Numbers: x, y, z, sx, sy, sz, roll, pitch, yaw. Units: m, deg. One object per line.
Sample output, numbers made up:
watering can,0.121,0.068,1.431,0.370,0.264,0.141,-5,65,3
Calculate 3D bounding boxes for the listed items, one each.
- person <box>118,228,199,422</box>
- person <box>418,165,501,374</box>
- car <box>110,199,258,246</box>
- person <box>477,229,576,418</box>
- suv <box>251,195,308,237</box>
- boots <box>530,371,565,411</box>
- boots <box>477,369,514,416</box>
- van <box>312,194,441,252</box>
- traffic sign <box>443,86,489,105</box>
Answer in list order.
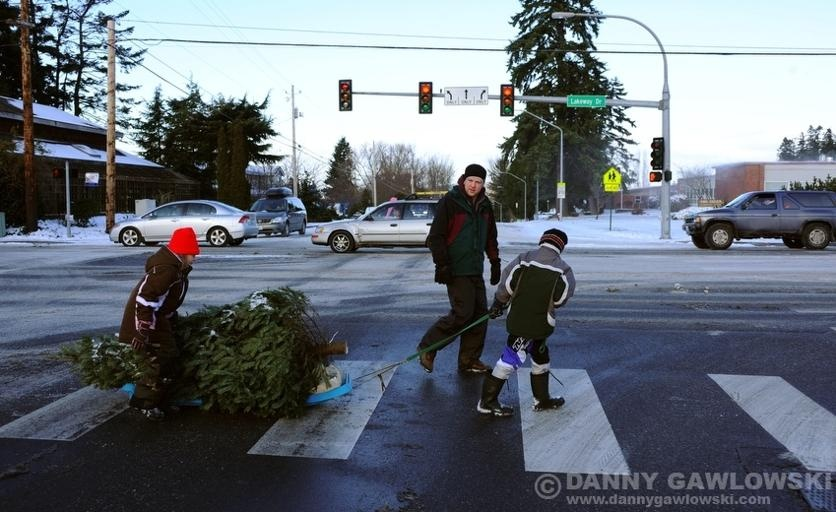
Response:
person,-2.871,0.710,7.087,0.740,2.107,0.955,5,3,4
person,0.585,0.171,8.332,1.115,2.649,0.768,0,0,-25
car,-8.819,-1.252,25.587,6.991,2.347,2.996,2,1,-2
person,1.190,0.723,7.148,1.022,1.961,0.621,0,13,1
suv,-7.675,-2.036,35.062,2.692,2.276,4.598,-1,13,-4
boots,1.464,1.520,7.284,0.415,0.409,0.224,-2,-5,-19
boots,0.765,1.526,7.215,0.501,0.546,0.309,0,6,-10
van,-1.172,-1.071,22.659,4.578,1.730,1.761,0,1,6
traffic sign,2.036,-7.159,28.906,1.745,0.725,1.618,9,16,34
